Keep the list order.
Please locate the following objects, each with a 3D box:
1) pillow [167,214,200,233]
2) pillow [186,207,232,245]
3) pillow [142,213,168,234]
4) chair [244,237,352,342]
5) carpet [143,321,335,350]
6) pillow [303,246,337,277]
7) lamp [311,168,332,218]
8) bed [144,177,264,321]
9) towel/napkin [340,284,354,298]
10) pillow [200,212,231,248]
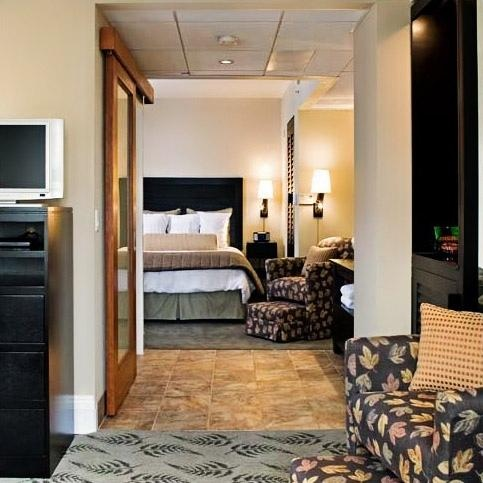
[{"bbox_3d":[-0.843,-0.248,6.884,0.288,0.340,0.145,0,-21,-3],"label":"pillow"},{"bbox_3d":[-0.472,-0.216,6.736,0.466,0.546,0.192,0,-17,-2],"label":"pillow"},{"bbox_3d":[-1.268,-0.264,6.694,0.253,0.332,0.092,1,-11,0],"label":"pillow"},{"bbox_3d":[0.658,0.457,4.717,1.081,1.091,0.823,2,-1,-38],"label":"chair"},{"bbox_3d":[-0.138,0.931,4.624,1.827,0.029,1.099,0,2,0],"label":"carpet"},{"bbox_3d":[0.800,0.163,4.651,0.086,0.315,0.300,15,-9,-9],"label":"pillow"},{"bbox_3d":[1.025,-0.592,5.897,0.256,0.627,0.228,0,2,5],"label":"lamp"},{"bbox_3d":[-0.560,0.017,6.054,1.324,1.464,2.078,0,1,0],"label":"bed"},{"bbox_3d":[0.816,0.378,3.536,0.082,0.036,0.092,-1,8,-2],"label":"towel/napkin"},{"bbox_3d":[-0.394,-0.173,6.674,0.426,0.542,0.213,0,-13,-3],"label":"pillow"}]
